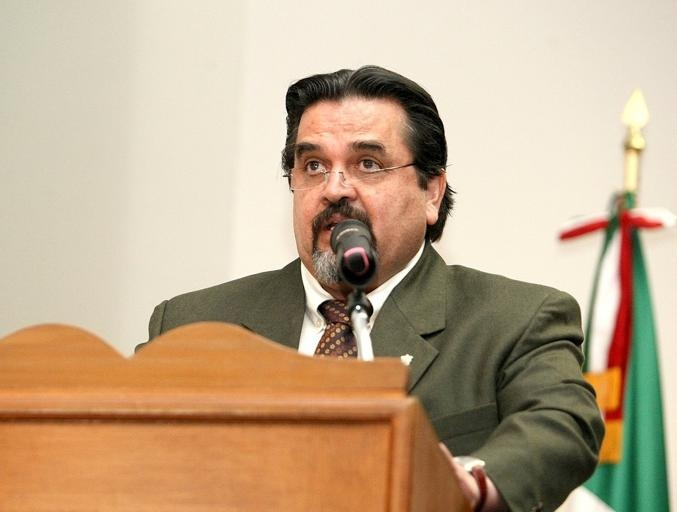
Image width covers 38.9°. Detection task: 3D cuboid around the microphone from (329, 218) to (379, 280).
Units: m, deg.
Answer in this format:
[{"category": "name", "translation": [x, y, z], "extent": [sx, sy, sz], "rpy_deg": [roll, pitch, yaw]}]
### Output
[{"category": "microphone", "translation": [0.042, -0.014, 2.765], "extent": [0.129, 0.147, 0.248], "rpy_deg": [5, 11, -2]}]
